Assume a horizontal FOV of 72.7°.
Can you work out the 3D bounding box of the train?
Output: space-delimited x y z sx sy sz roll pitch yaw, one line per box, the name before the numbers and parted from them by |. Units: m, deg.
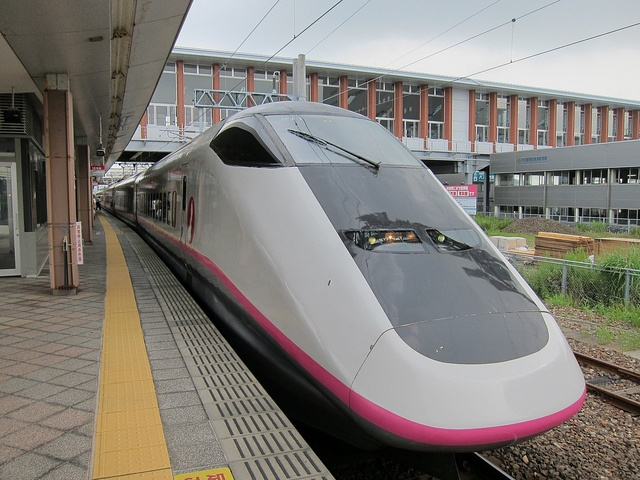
train | -0.704 0.081 7.145 1.936 2.569 8.817 -3 5 -18
